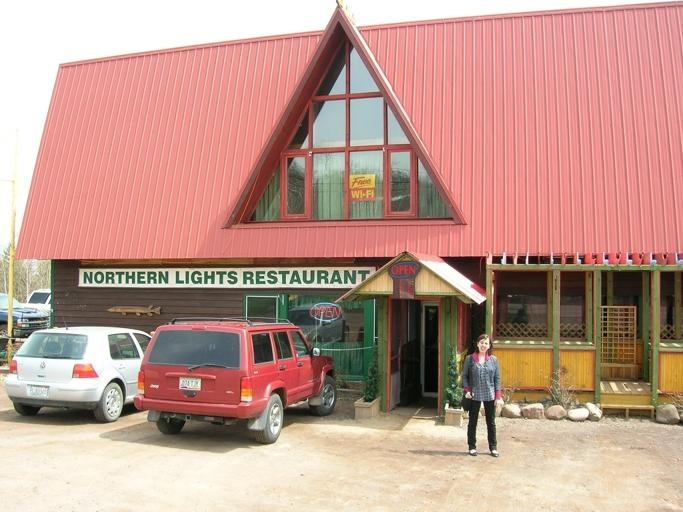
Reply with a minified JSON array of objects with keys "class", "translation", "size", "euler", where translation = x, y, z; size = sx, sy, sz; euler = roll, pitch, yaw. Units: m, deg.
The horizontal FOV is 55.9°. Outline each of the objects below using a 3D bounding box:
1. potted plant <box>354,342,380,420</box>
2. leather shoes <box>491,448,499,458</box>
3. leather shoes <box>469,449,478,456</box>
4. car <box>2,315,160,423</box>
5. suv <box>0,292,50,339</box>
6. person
[{"class":"potted plant","translation":[0.723,3.520,18.009],"size":[0.605,1.903,1.750],"euler":[0,-3,13]},{"class":"leather shoes","translation":[3.179,4.033,13.340],"size":[0.178,0.137,0.316],"euler":[1,3,15]},{"class":"leather shoes","translation":[2.732,4.044,13.376],"size":[0.180,0.140,0.258],"euler":[1,3,10]},{"class":"car","translation":[-6.182,2.827,16.545],"size":[1.992,1.941,3.635],"euler":[0,2,14]},{"class":"suv","translation":[-15.449,2.791,30.345],"size":[2.954,1.462,1.758],"euler":[-1,-1,29]},{"class":"person","translation":[2.922,2.871,13.455],"size":[0.780,2.470,0.536],"euler":[1,3,8]}]
